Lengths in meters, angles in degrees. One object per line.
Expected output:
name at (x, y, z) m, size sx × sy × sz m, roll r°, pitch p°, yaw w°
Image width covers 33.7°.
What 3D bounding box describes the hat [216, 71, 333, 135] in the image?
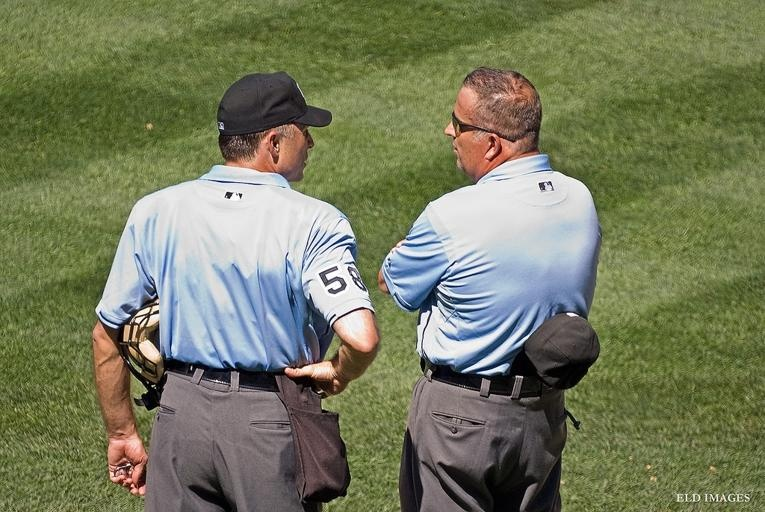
hat at (-0.765, -1.082, 8.688) m, size 0.812 × 0.385 × 0.537 m, roll -9°, pitch 22°, yaw -15°
